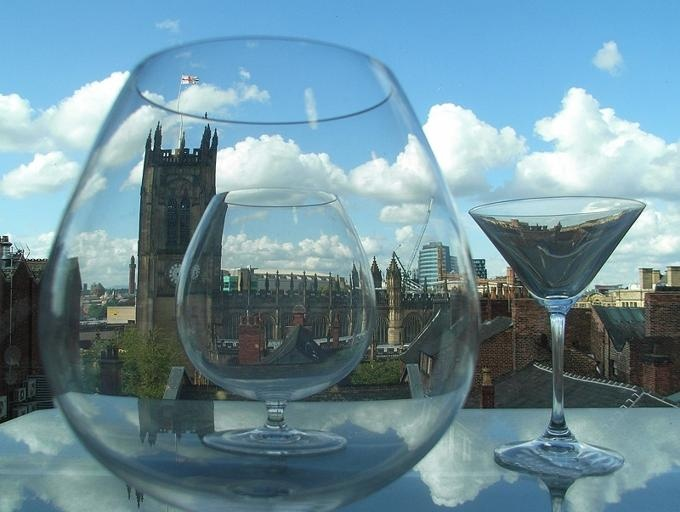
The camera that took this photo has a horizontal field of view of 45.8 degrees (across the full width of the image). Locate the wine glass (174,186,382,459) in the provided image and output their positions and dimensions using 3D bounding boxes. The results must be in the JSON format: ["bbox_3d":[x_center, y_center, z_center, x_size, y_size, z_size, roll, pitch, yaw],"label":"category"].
[{"bbox_3d":[-0.034,0.036,0.433,0.113,0.133,0.110,2,-5,-18],"label":"wine glass"}]

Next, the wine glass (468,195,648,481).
[{"bbox_3d":[0.191,0.051,0.676,0.143,0.213,0.314,-5,-5,20],"label":"wine glass"}]
